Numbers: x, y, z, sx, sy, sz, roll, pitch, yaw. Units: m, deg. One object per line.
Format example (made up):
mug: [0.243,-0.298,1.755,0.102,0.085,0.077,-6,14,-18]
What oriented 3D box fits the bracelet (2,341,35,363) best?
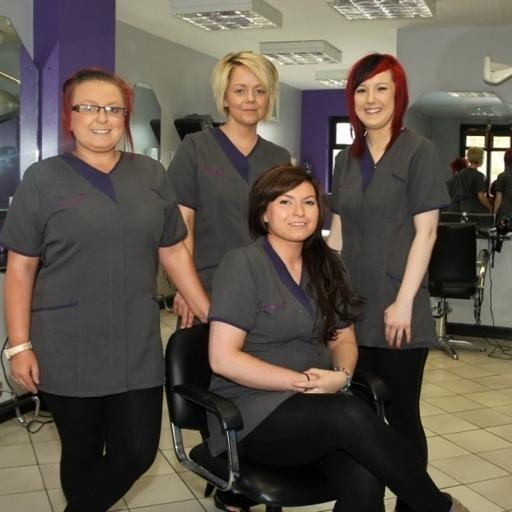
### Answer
bracelet: [-0.634,0.243,1.274,0.080,0.050,0.074,-8,2,-1]

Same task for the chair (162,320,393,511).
chair: [0.062,0.427,1.471,0.554,0.665,0.525,5,-12,-32]

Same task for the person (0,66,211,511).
person: [-0.393,0.099,1.353,0.551,1.210,0.302,-1,6,-27]

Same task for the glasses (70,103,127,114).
glasses: [-0.414,-0.384,1.269,0.129,0.025,0.036,0,6,-17]
